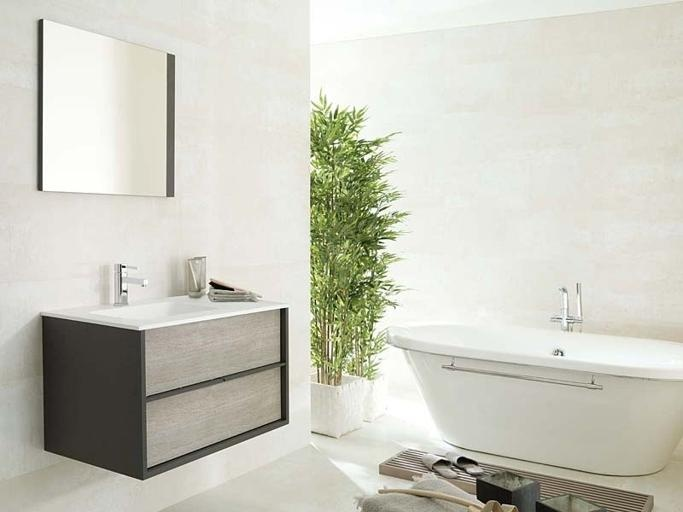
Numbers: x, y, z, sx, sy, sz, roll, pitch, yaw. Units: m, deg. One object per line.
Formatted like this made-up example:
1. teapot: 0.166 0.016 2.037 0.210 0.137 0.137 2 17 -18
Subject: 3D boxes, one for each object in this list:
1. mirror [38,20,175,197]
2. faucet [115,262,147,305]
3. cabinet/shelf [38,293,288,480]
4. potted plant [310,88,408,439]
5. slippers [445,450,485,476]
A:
1. mirror: -1.208 -0.720 2.706 0.041 0.781 0.814 12 12 25
2. faucet: -1.069 0.154 2.644 0.225 0.210 0.075 2 2 31
3. cabinet/shelf: -0.863 0.625 2.758 0.666 0.662 1.103 1 -1 26
4. potted plant: 0.036 0.040 4.283 0.773 2.710 0.430 -4 3 -33
5. slippers: 0.796 1.335 3.345 0.090 0.051 0.202 -1 10 -29
